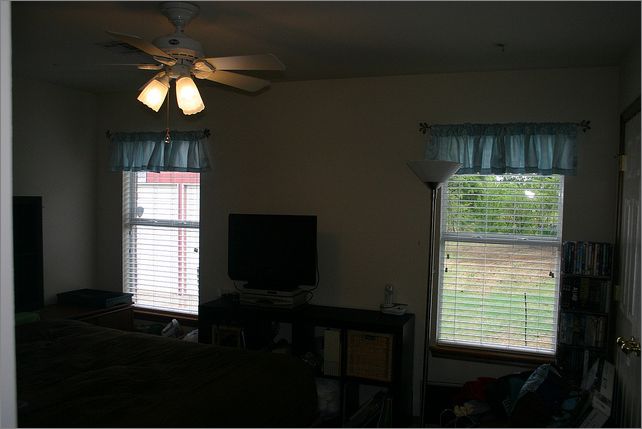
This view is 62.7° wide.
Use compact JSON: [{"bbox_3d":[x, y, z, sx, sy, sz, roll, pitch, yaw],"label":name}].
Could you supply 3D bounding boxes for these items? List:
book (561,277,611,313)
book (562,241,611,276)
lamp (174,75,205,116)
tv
[{"bbox_3d":[2.309,0.696,4.571,0.392,0.292,0.088,6,15,10],"label":"book"},{"bbox_3d":[2.328,0.385,4.585,0.408,0.290,0.146,8,16,20],"label":"book"},{"bbox_3d":[-0.955,-0.861,3.799,0.179,0.270,0.204,-2,16,-17],"label":"lamp"},{"bbox_3d":[-0.546,0.391,5.390,1.058,0.758,0.271,6,-7,-37],"label":"tv"}]
